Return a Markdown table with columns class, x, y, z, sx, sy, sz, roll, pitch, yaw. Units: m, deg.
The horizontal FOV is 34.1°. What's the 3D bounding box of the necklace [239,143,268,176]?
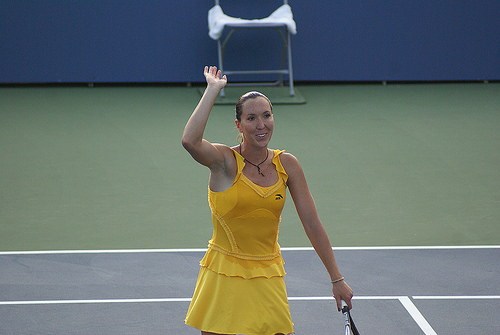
| class | x | y | z | sx | sy | sz | roll | pitch | yaw |
| --- | --- | --- | --- | --- | --- | --- | --- | --- | --- |
| necklace | 0.026 | -0.085 | 10.665 | 0.380 | 0.351 | 0.029 | 4 | -12 | -3 |
